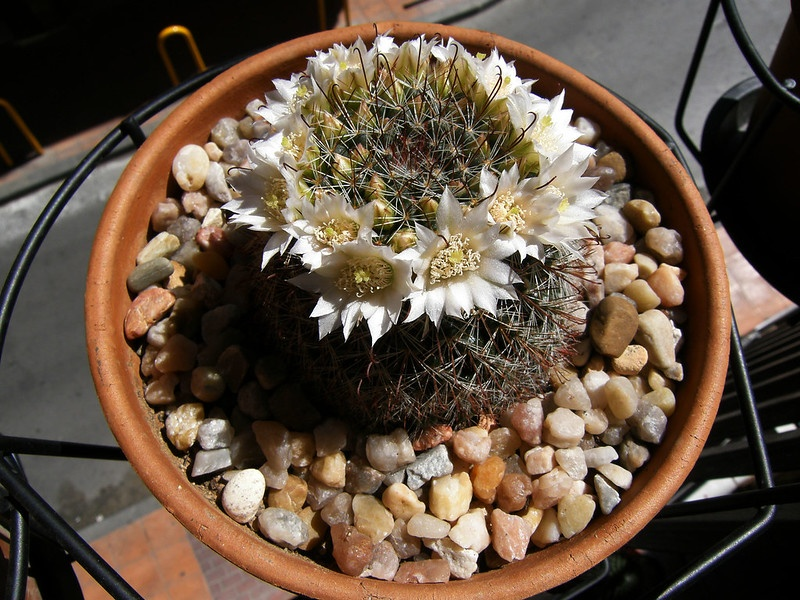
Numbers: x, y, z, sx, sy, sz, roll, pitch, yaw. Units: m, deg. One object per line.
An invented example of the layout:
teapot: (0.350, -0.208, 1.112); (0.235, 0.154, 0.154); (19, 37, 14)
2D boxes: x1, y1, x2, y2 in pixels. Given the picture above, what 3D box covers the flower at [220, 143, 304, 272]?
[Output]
flower: (-0.391, -0.245, 1.967); (0.279, 0.120, 0.295); (-32, 77, 30)
